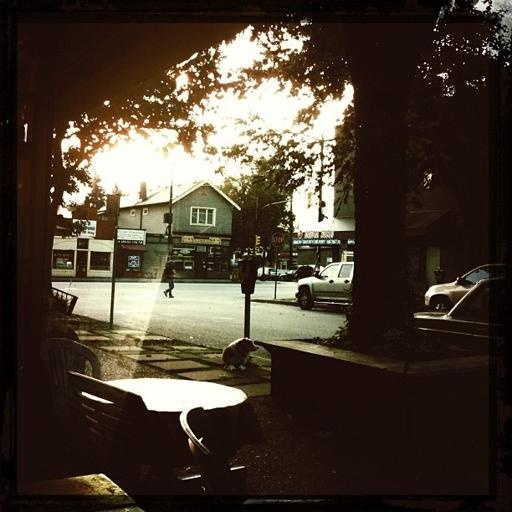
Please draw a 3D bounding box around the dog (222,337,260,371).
[{"bbox_3d":[-0.256,1.349,7.642,0.517,0.515,0.342,-6,2,32],"label":"dog"}]

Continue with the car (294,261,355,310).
[{"bbox_3d":[2.481,1.052,19.212,1.951,1.346,1.383,-1,-4,31],"label":"car"}]

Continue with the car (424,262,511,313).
[{"bbox_3d":[3.449,0.586,9.390,1.605,1.060,1.015,-1,-4,30],"label":"car"}]
